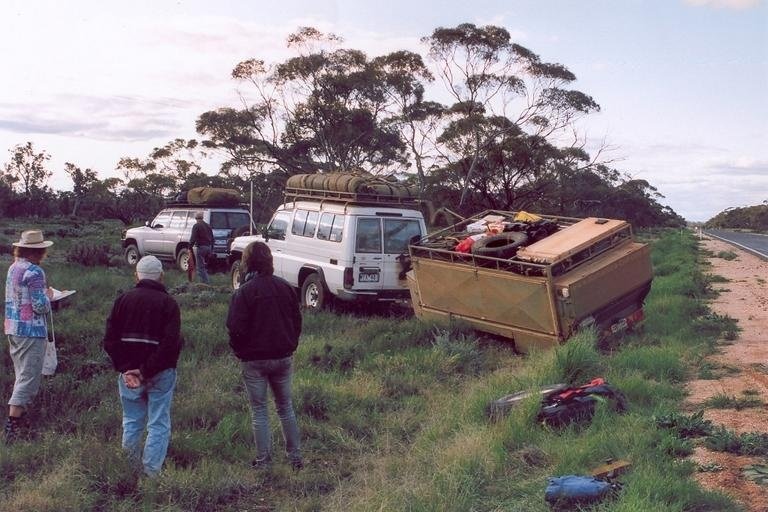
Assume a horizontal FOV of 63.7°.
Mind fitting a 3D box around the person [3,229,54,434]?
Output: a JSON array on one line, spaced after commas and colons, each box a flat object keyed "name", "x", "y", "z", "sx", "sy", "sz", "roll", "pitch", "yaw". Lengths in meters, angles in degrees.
[{"name": "person", "x": -5.313, "y": 1.115, "z": 9.206, "sx": 0.834, "sy": 2.887, "sz": 0.553, "roll": -8, "pitch": 14, "yaw": -31}]

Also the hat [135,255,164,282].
[{"name": "hat", "x": -3.092, "y": 0.175, "z": 8.172, "sx": 0.265, "sy": 0.340, "sz": 0.368, "roll": 2, "pitch": -2, "yaw": -16}]

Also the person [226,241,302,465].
[{"name": "person", "x": -1.589, "y": 1.343, "z": 8.402, "sx": 0.955, "sy": 3.006, "sz": 0.707, "roll": -3, "pitch": 12, "yaw": -10}]

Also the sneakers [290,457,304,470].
[{"name": "sneakers", "x": -1.176, "y": 2.822, "z": 8.437, "sx": 0.148, "sy": 0.142, "sz": 0.158, "roll": 10, "pitch": -13, "yaw": -35}]

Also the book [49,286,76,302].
[{"name": "book", "x": -6.294, "y": 0.744, "z": 12.123, "sx": 0.437, "sy": 0.269, "sz": 0.768, "roll": 19, "pitch": -11, "yaw": -26}]
